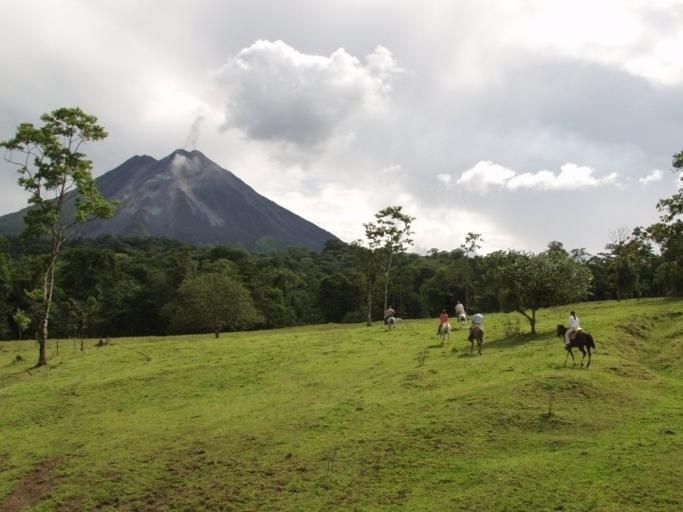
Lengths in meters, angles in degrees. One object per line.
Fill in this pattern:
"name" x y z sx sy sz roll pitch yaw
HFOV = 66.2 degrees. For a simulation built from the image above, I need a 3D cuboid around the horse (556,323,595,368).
"horse" 16.776 6.263 37.704 1.062 2.892 3.773 4 -8 -16
